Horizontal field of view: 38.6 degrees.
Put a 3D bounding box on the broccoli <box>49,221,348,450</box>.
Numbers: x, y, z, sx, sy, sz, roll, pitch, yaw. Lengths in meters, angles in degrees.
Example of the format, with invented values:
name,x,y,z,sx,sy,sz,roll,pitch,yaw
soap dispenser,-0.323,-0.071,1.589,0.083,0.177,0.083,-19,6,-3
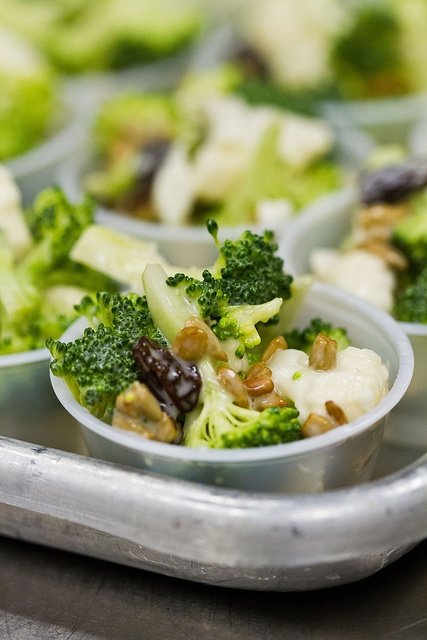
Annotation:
name,x,y,z,sx,sy,sz,roll,pitch,yaw
broccoli,-0.003,0.013,0.643,0.266,0.132,0.255,4,13,29
